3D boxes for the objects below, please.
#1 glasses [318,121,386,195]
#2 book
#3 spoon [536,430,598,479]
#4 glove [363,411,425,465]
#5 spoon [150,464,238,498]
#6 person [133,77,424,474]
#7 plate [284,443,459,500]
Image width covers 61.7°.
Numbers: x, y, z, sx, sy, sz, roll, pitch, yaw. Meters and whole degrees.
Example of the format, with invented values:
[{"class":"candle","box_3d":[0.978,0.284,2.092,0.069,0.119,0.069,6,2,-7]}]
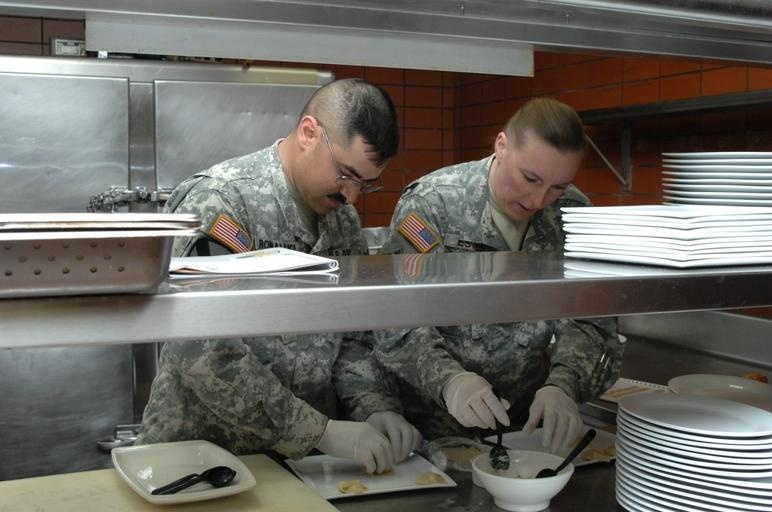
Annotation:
[{"class":"glasses","box_3d":[-0.118,-0.325,2.234,0.056,0.204,0.206,-25,-12,27]},{"class":"book","box_3d":[-0.257,0.016,1.251,0.308,0.024,0.235,-4,9,-19]},{"class":"spoon","box_3d":[0.458,0.503,1.630,0.029,0.141,0.034,26,30,-22]},{"class":"glove","box_3d":[0.025,0.474,1.750,0.097,0.120,0.175,-4,-1,-40]},{"class":"spoon","box_3d":[-0.430,0.507,1.454,0.185,0.034,0.067,-4,9,-21]},{"class":"person","box_3d":[-0.307,-0.014,1.998,0.784,1.110,0.976,-1,9,-1]},{"class":"plate","box_3d":[-0.049,0.539,1.627,0.359,0.026,0.307,-4,9,-20]}]
